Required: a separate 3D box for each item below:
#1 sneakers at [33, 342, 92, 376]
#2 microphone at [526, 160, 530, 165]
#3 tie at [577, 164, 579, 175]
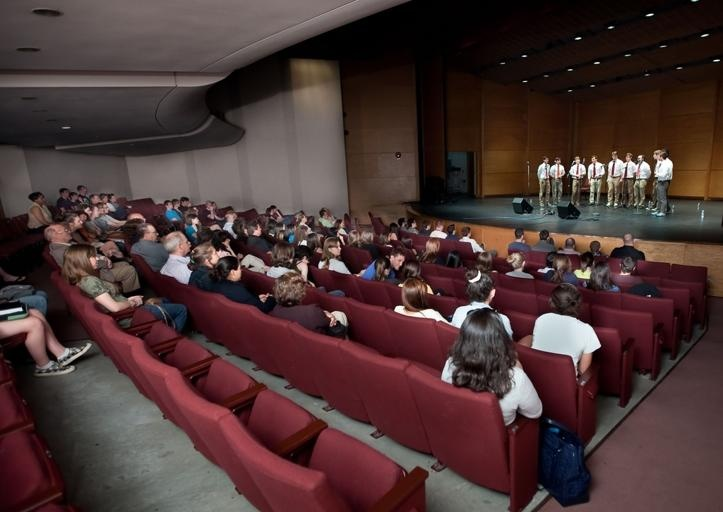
[{"bbox_3d":[-3.053,1.054,4.481,0.204,0.249,0.617,16,20,36],"label":"sneakers"},{"bbox_3d":[6.691,-3.766,17.185,0.134,0.130,0.033,6,5,36],"label":"microphone"},{"bbox_3d":[6.700,-2.667,13.190,0.056,0.244,0.172,1,1,14],"label":"tie"}]
